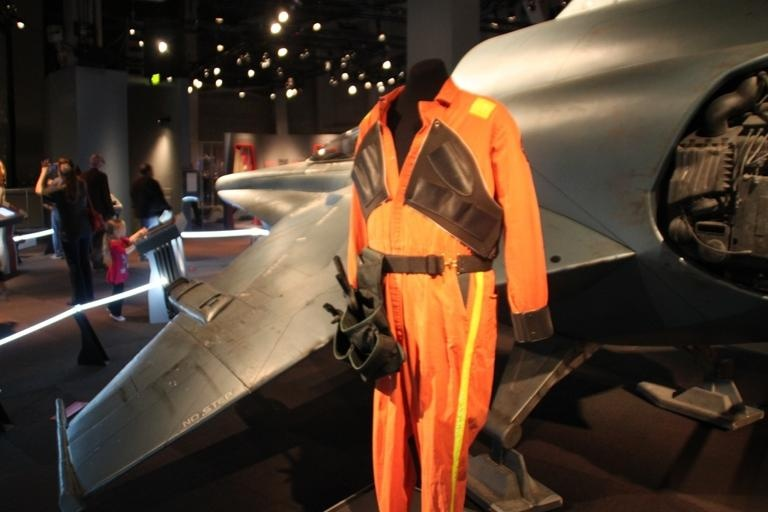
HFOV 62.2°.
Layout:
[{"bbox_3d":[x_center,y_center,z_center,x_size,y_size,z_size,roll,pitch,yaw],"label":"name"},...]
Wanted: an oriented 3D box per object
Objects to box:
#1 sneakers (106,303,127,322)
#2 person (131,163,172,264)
[{"bbox_3d":[-2.942,0.610,6.951,0.307,0.148,0.107,4,8,42],"label":"sneakers"},{"bbox_3d":[-3.191,-0.652,8.593,0.445,1.140,0.322,-9,-18,-11],"label":"person"}]
